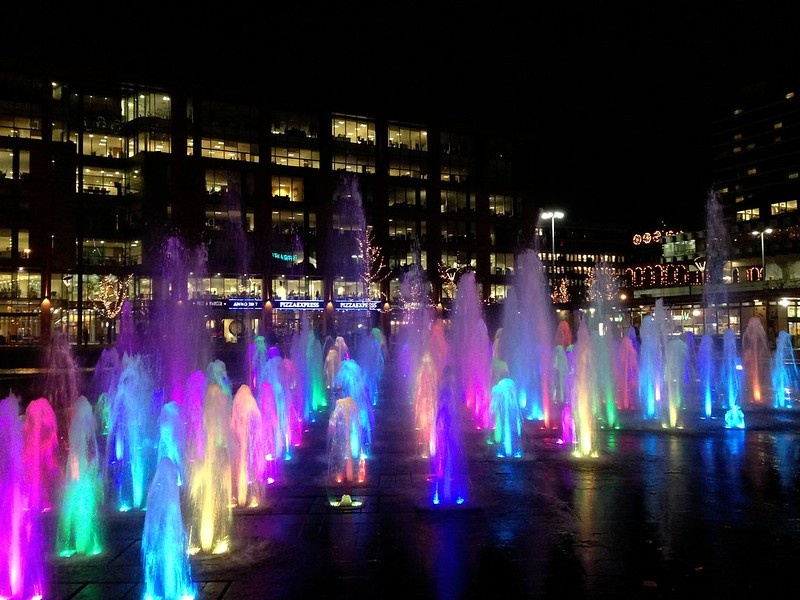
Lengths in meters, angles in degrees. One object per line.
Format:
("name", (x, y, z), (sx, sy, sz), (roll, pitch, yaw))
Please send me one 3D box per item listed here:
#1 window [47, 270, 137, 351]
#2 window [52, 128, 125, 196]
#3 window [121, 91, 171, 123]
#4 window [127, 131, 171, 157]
("window", (-24.709, 0.493, 70.797), (5.564, 5.931, 3.283), (0, 6, -10))
("window", (-24.883, -10.994, 69.784), (5.395, 5.504, 2.798), (2, -5, -40))
("window", (-20.351, -16.131, 71.284), (2.624, 1.800, 2.741), (-1, 0, -1))
("window", (-19.663, -12.478, 70.000), (2.677, 1.788, 0.864), (-1, -3, -16))
